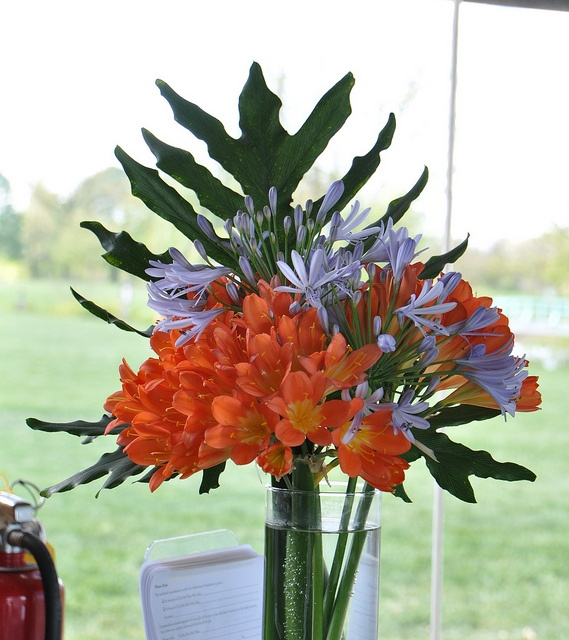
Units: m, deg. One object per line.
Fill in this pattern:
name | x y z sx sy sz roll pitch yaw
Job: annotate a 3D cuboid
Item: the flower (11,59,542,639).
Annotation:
flower | -0.020 0.015 0.802 0.577 0.556 0.522 1 4 18
